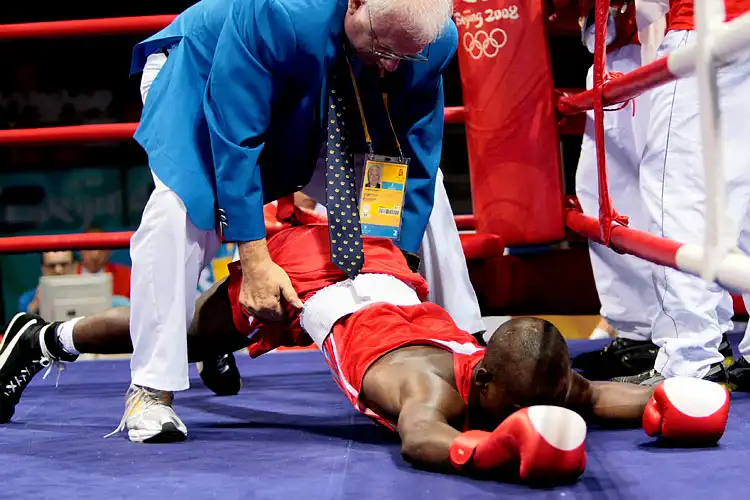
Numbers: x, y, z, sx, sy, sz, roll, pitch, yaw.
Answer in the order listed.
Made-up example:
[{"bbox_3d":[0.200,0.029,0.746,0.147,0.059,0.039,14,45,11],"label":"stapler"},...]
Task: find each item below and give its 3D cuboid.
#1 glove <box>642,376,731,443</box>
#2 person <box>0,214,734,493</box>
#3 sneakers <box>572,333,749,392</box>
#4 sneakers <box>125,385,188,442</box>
[{"bbox_3d":[0.742,0.365,2.073,0.173,0.134,0.141,2,0,11],"label":"glove"},{"bbox_3d":[-0.130,0.240,2.202,1.238,0.427,0.770,11,9,41],"label":"person"},{"bbox_3d":[0.856,0.360,2.656,0.557,0.250,0.193,-3,-10,24],"label":"sneakers"},{"bbox_3d":[-0.573,0.429,2.248,0.093,0.106,0.209,5,-5,-27],"label":"sneakers"}]
